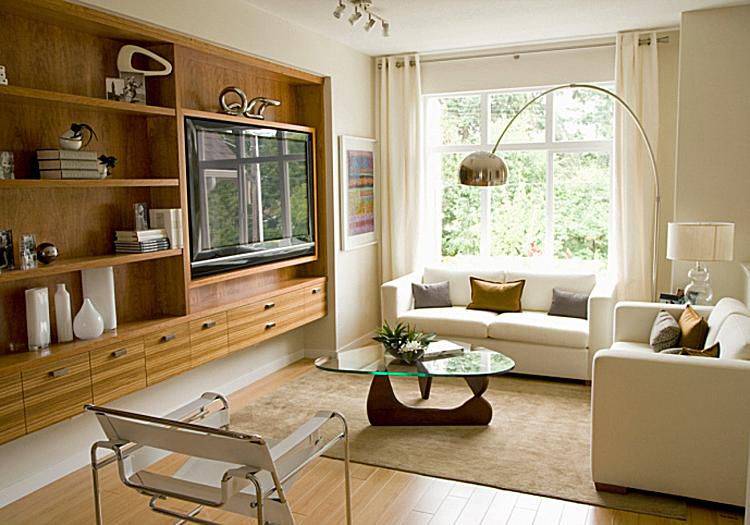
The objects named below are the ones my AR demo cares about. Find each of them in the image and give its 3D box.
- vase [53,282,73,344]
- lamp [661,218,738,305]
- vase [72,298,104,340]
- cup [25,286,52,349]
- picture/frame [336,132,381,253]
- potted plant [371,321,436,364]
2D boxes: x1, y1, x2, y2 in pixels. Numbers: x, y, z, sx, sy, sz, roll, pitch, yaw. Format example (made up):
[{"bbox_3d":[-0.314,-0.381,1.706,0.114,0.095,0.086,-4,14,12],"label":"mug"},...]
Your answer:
[{"bbox_3d":[-2.190,0.345,3.809,0.113,0.393,0.176,-10,16,-32],"label":"vase"},{"bbox_3d":[2.947,-0.020,5.034,0.505,0.740,0.478,2,13,15],"label":"lamp"},{"bbox_3d":[-2.064,0.390,3.916,0.205,0.289,0.210,2,3,32],"label":"vase"},{"bbox_3d":[-2.287,0.370,3.673,0.151,0.391,0.203,-5,13,-12],"label":"cup"},{"bbox_3d":[-0.219,-0.864,6.390,0.069,1.510,1.317,6,12,29],"label":"picture/frame"},{"bbox_3d":[0.271,0.657,4.550,0.356,0.202,0.361,1,-1,27],"label":"potted plant"}]
